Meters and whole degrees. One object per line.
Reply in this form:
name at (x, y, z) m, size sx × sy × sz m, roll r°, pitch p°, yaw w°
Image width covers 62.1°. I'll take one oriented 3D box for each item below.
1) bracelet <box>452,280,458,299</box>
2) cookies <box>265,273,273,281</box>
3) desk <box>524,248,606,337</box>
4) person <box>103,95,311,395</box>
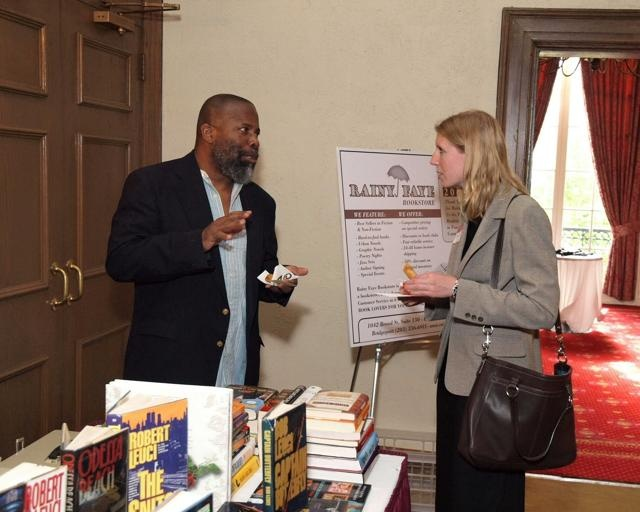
bracelet at (0.540, 0.134, 2.128) m, size 0.014 × 0.055 × 0.055 m, roll 12°, pitch -22°, yaw 9°
cookies at (-0.231, 0.091, 2.384) m, size 0.026 × 0.015 × 0.038 m, roll 3°, pitch 10°, yaw -3°
desk at (3.261, 0.378, 6.697) m, size 0.510 × 0.849 × 0.599 m, roll -6°, pitch 9°, yaw -4°
person at (-0.566, -0.068, 2.431) m, size 0.587 × 1.311 × 0.645 m, roll 4°, pitch 9°, yaw 15°
